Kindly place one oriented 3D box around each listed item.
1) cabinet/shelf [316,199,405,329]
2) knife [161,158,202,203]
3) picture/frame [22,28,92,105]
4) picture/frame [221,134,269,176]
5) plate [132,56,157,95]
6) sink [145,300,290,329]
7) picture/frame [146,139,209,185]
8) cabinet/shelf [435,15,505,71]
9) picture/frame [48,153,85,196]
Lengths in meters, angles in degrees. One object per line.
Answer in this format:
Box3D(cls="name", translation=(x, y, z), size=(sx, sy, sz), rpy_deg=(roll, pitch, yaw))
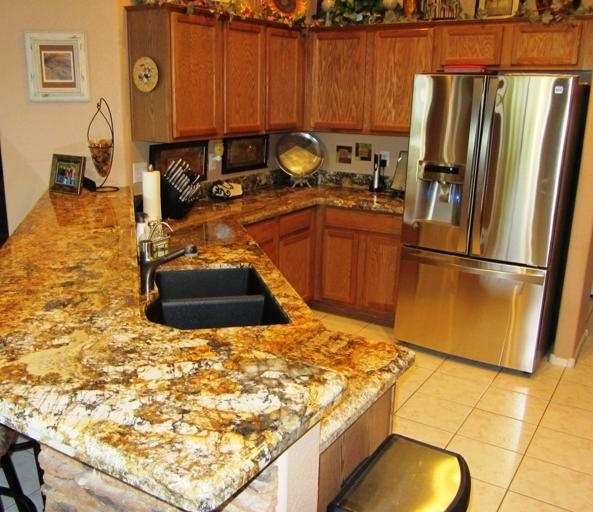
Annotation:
Box3D(cls="cabinet/shelf", translation=(0.605, 0.039, 4.128), size=(0.951, 1.203, 0.635), rpy_deg=(9, 18, 26))
Box3D(cls="knife", translation=(-0.833, -0.526, 3.279), size=(0.200, 0.285, 0.347), rpy_deg=(5, 13, 11))
Box3D(cls="picture/frame", translation=(-1.666, -1.327, 3.135), size=(0.536, 0.594, 0.049), rpy_deg=(-6, 12, -30))
Box3D(cls="picture/frame", translation=(-0.484, -0.990, 4.405), size=(0.587, 0.329, 0.030), rpy_deg=(4, 5, 36))
Box3D(cls="plate", translation=(-1.059, -1.272, 3.202), size=(0.232, 0.227, 0.054), rpy_deg=(34, 33, 28))
Box3D(cls="sink", translation=(-0.374, 0.263, 2.013), size=(0.498, 0.153, 0.127), rpy_deg=(-1, 13, -15))
Box3D(cls="picture/frame", translation=(-0.959, -0.793, 3.798), size=(0.580, 0.309, 0.018), rpy_deg=(3, 1, 23))
Box3D(cls="cabinet/shelf", translation=(1.397, -1.754, 3.849), size=(0.548, 0.325, 0.277), rpy_deg=(-4, 9, -9))
Box3D(cls="picture/frame", translation=(-1.508, -0.538, 2.990), size=(0.249, 0.229, 0.027), rpy_deg=(10, 5, 19))
